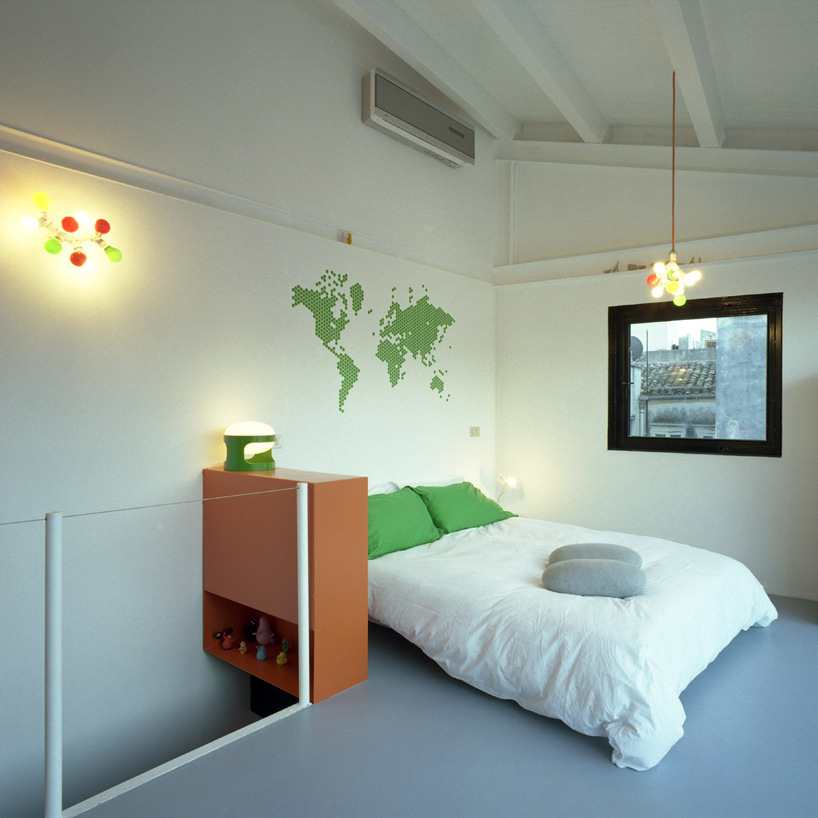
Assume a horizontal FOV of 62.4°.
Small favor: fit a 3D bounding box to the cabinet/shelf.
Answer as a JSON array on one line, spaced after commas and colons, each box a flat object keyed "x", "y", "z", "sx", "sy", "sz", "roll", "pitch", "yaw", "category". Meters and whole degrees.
[{"x": -0.545, "y": 0.817, "z": 2.991, "sx": 0.329, "sy": 1.129, "sz": 0.811, "roll": -5, "pitch": 7, "yaw": -41, "category": "cabinet/shelf"}]

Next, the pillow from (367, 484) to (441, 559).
[{"x": -0.058, "y": 0.650, "z": 4.013, "sx": 0.119, "sy": 0.304, "sz": 0.439, "roll": -30, "pitch": -16, "yaw": 33, "category": "pillow"}]

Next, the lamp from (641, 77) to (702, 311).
[{"x": 1.615, "y": -1.296, "z": 4.139, "sx": 0.368, "sy": 1.384, "sz": 1.501, "roll": 2, "pitch": 5, "yaw": 23, "category": "lamp"}]

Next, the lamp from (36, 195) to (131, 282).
[{"x": -1.406, "y": -0.740, "z": 2.867, "sx": 0.071, "sy": 0.282, "sz": 0.251, "roll": -13, "pitch": 11, "yaw": 43, "category": "lamp"}]

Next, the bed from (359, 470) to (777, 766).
[{"x": 0.761, "y": 0.997, "z": 3.581, "sx": 1.701, "sy": 0.482, "sz": 1.596, "roll": 4, "pitch": 6, "yaw": 41, "category": "bed"}]
